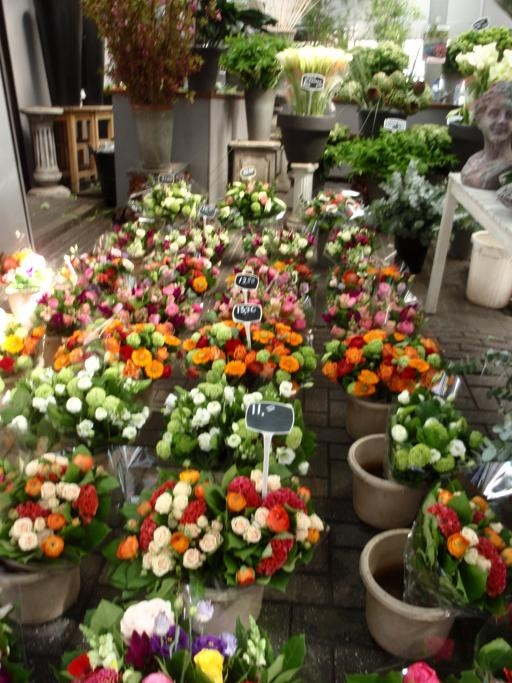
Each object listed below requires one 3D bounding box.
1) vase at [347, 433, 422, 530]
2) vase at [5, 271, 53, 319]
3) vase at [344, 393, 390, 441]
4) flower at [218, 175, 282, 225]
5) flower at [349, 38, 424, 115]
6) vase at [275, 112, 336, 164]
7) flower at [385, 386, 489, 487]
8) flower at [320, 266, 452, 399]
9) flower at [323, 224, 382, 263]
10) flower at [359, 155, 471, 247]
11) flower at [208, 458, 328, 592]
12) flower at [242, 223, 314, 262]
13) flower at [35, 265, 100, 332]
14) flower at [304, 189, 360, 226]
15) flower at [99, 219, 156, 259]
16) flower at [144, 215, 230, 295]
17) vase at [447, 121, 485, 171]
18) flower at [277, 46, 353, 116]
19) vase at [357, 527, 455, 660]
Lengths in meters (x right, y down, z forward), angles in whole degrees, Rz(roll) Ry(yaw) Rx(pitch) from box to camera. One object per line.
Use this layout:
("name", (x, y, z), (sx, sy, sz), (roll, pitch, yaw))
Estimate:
("vase", (0.412, 0.491, 1.482), (0.239, 0.233, 0.286), (-8, 29, -18))
("vase", (-1.230, -0.259, 2.265), (0.168, 0.178, 0.201), (-6, 22, -22))
("vase", (0.470, 0.341, 1.813), (0.147, 0.216, 0.184), (5, 32, 5))
("flower", (-0.076, -1.121, 3.403), (0.393, 0.362, 0.394), (16, 30, 42))
("flower", (1.314, -2.723, 4.478), (0.562, 0.889, 0.620), (-5, 17, -18))
("vase", (0.512, -2.098, 4.203), (0.476, 0.501, 0.628), (-1, 39, -4))
("flower", (0.496, 0.258, 1.194), (0.226, 0.153, 0.306), (-13, 62, 0))
("flower", (0.555, 0.151, 1.937), (0.429, 0.575, 0.770), (-5, 37, 10))
("flower", (0.684, -0.584, 2.936), (0.315, 0.227, 0.313), (-41, 24, -25))
("flower", (1.231, -1.146, 3.429), (0.571, 0.744, 0.762), (1, 46, -2))
("flower", (0.021, 0.348, 0.810), (0.185, 0.192, 0.245), (3, 38, 0))
("flower", (0.201, -0.668, 2.940), (0.552, 0.178, 0.595), (-4, 27, -10))
("flower", (-0.910, -0.223, 2.039), (0.179, 0.134, 0.321), (0, 39, -12))
("flower", (0.635, -1.075, 3.296), (0.309, 0.265, 0.372), (-10, 20, 42))
("flower", (-0.840, -0.767, 2.806), (0.231, 0.169, 0.439), (0, 19, 4))
("flower", (-0.432, -0.584, 2.737), (0.355, 0.311, 0.696), (5, 30, 5))
("vase", (1.812, -1.707, 3.629), (0.254, 0.388, 0.316), (4, 27, 12))
("flower", (0.561, -2.539, 4.191), (0.584, 0.805, 0.731), (-1, 22, -3))
("vase", (0.345, 0.650, 1.075), (0.209, 0.210, 0.263), (4, 26, 4))
